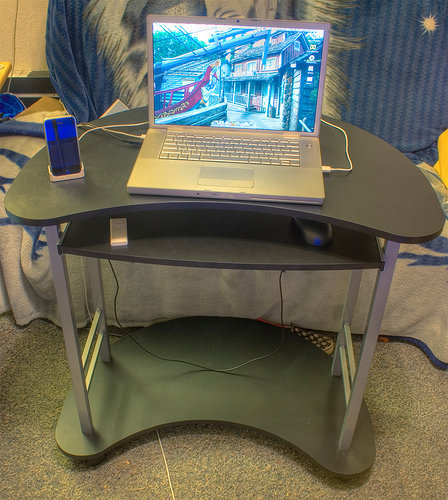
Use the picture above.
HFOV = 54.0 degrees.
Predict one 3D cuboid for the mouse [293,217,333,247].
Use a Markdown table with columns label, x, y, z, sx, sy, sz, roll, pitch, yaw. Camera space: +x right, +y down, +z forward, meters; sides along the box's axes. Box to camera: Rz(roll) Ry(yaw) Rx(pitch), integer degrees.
| label | x | y | z | sx | sy | sz | roll | pitch | yaw |
| --- | --- | --- | --- | --- | --- | --- | --- | --- | --- |
| mouse | 0.179 | -0.039 | 0.885 | 0.066 | 0.028 | 0.084 | 0 | 31 | 0 |

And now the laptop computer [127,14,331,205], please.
| label | x | y | z | sx | sy | sz | roll | pitch | yaw |
| --- | --- | --- | --- | --- | --- | --- | --- | --- | --- |
| laptop computer | 0.008 | -0.282 | 0.860 | 0.384 | 0.293 | 0.299 | 3 | 32 | 5 |

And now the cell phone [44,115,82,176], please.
| label | x | y | z | sx | sy | sz | roll | pitch | yaw |
| --- | --- | --- | --- | --- | --- | --- | --- | --- | --- |
| cell phone | -0.319 | -0.199 | 0.863 | 0.013 | 0.115 | 0.067 | 25 | 35 | 38 |
